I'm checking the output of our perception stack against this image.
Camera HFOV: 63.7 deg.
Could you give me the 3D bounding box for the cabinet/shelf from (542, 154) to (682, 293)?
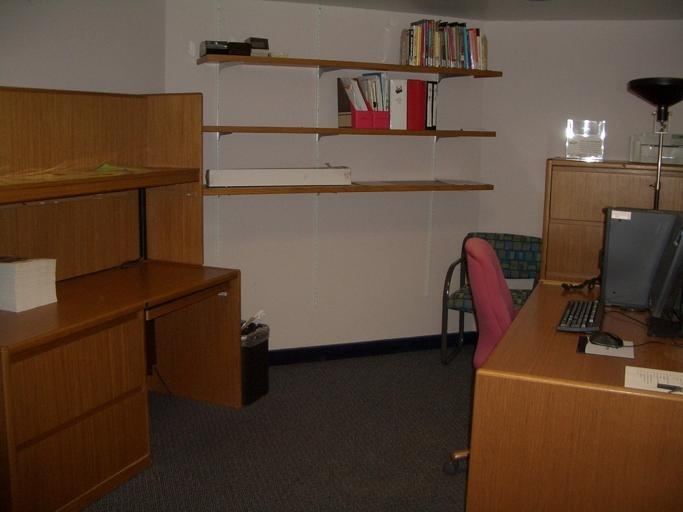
[{"bbox_3d":[1.802,-0.235,3.654,0.911,0.915,0.364,1,5,6],"label":"cabinet/shelf"}]
